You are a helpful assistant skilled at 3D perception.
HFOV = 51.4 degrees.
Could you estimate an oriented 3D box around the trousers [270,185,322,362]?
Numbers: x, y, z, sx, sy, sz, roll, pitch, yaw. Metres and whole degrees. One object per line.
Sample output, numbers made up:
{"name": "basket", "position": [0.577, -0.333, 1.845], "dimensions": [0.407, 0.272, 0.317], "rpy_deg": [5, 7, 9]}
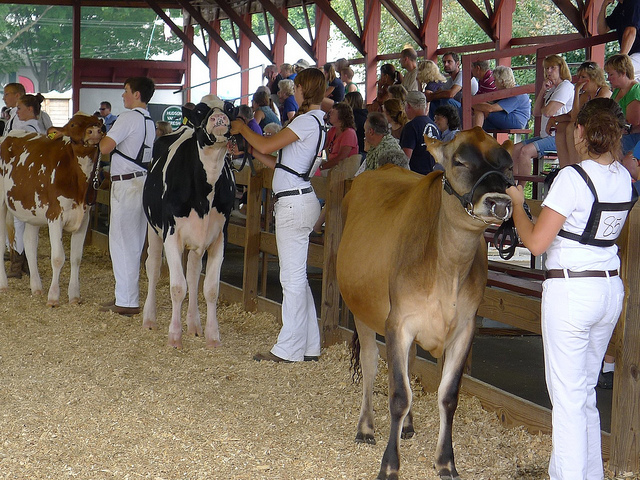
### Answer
{"name": "trousers", "position": [-0.220, 0.316, 6.322], "dimensions": [0.486, 1.690, 0.246], "rpy_deg": [1, 8, -2]}

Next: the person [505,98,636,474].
{"name": "person", "position": [1.536, 0.290, 4.009], "dimensions": [0.763, 2.276, 0.436], "rpy_deg": [-1, 8, -20]}

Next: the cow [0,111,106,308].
{"name": "cow", "position": [-3.311, -0.413, 8.185], "dimensions": [1.891, 2.316, 0.586], "rpy_deg": [8, 10, 35]}

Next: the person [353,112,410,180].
{"name": "person", "position": [0.754, -0.915, 7.026], "dimensions": [0.288, 0.545, 0.920], "rpy_deg": [19, 3, -40]}

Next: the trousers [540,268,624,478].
{"name": "trousers", "position": [1.549, 0.812, 3.996], "dimensions": [0.461, 1.290, 0.295], "rpy_deg": [4, 8, 12]}

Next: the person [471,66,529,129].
{"name": "person", "position": [2.615, -1.949, 9.738], "dimensions": [0.800, 1.246, 0.540], "rpy_deg": [2, 23, -1]}

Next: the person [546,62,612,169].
{"name": "person", "position": [2.940, -1.278, 7.516], "dimensions": [0.725, 1.475, 0.507], "rpy_deg": [9, 3, 17]}

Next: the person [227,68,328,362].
{"name": "person", "position": [-0.328, -0.211, 6.235], "dimensions": [0.717, 2.779, 0.614], "rpy_deg": [2, 8, -1]}

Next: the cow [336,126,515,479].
{"name": "cow", "position": [0.666, 0.389, 4.606], "dimensions": [0.768, 2.336, 1.657], "rpy_deg": [-1, 9, -19]}

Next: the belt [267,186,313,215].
{"name": "belt", "position": [-0.289, -0.438, 6.198], "dimensions": [0.339, 0.094, 0.362], "rpy_deg": [-23, -1, 8]}

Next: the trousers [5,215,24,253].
{"name": "trousers", "position": [-4.314, -0.103, 9.423], "dimensions": [0.169, 0.401, 0.678], "rpy_deg": [5, -31, -36]}

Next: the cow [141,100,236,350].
{"name": "cow", "position": [-1.305, -0.176, 6.794], "dimensions": [0.688, 2.479, 1.373], "rpy_deg": [-5, 11, -41]}
